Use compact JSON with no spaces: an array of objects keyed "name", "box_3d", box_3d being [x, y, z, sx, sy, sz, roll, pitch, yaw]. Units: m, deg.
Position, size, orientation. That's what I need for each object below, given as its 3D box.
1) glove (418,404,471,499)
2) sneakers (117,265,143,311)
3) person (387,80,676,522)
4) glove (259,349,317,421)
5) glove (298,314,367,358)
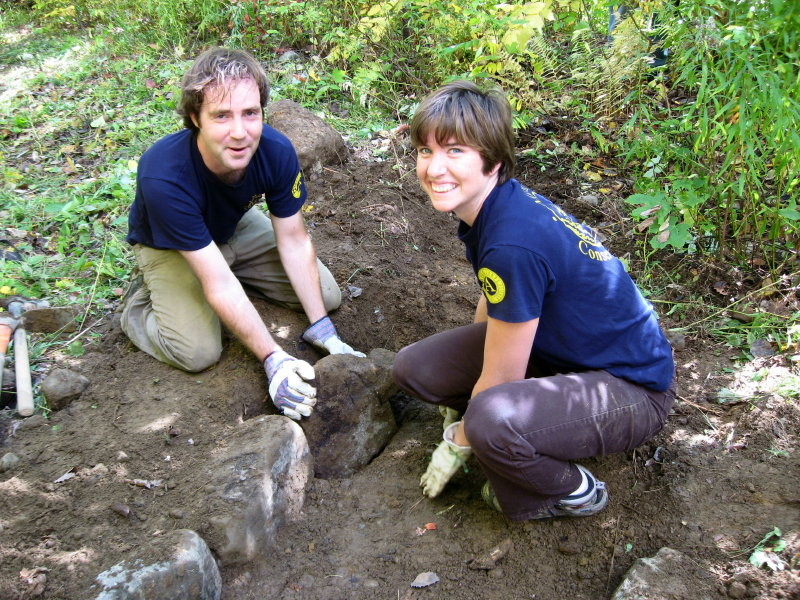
[{"name":"glove","box_3d":[0.195,0.738,3.420,0.266,0.405,0.112,10,19,-47]},{"name":"sneakers","box_3d":[-1.665,-0.070,4.339,0.082,0.067,0.289,-15,49,52]},{"name":"person","box_3d":[0.581,0.065,3.108,0.988,1.835,0.872,-26,36,-15]},{"name":"glove","box_3d":[-0.571,0.436,3.707,0.312,0.405,0.112,-17,67,-2]},{"name":"glove","box_3d":[-0.378,0.202,4.037,0.494,0.210,0.167,16,22,34]}]
